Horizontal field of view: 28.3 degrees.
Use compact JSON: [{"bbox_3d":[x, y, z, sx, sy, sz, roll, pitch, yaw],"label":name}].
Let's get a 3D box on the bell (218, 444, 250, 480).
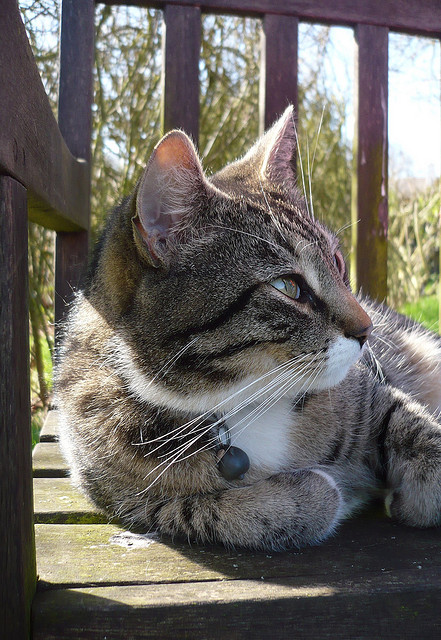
[{"bbox_3d":[0.022,0.283,1.746,0.048,0.065,0.048,-33,0,-24],"label":"bell"}]
